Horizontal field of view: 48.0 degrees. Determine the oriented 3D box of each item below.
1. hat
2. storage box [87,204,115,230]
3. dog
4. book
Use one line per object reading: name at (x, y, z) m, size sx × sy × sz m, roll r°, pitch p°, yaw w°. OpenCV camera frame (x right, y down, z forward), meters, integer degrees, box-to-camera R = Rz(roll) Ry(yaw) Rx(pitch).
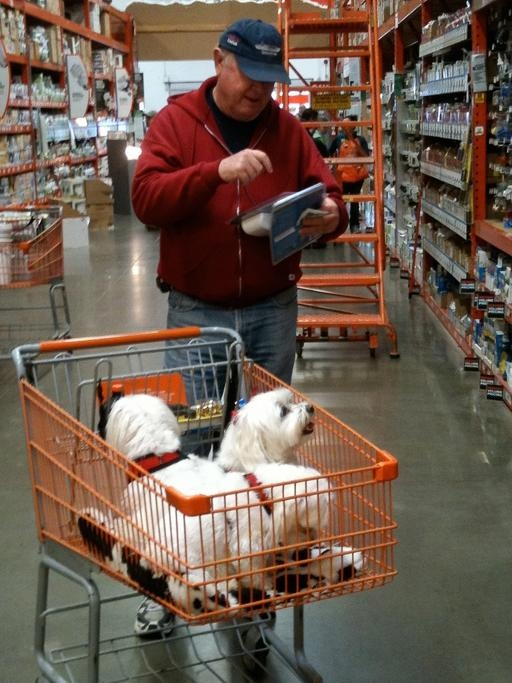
hat at (-0.013, -0.716, 1.470) m, size 0.133 × 0.114 × 0.212 m, roll -4°, pitch 39°, yaw -36°
storage box at (-2.969, -2.417, 11.076) m, size 0.587 × 0.613 × 0.442 m, roll -2°, pitch 16°, yaw -7°
dog at (-0.056, 0.217, 0.892) m, size 0.269 × 0.258 × 0.420 m, roll -1°, pitch -4°, yaw -25°
book at (0.087, -0.300, 1.517) m, size 0.052 × 0.195 × 0.223 m, roll 28°, pitch 31°, yaw 19°
